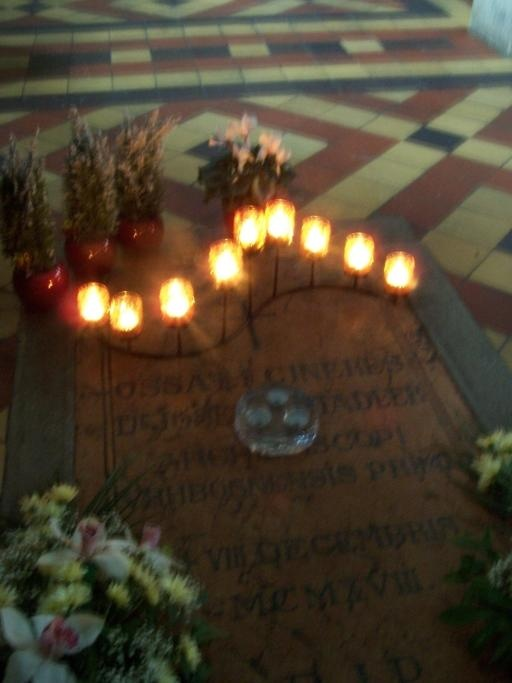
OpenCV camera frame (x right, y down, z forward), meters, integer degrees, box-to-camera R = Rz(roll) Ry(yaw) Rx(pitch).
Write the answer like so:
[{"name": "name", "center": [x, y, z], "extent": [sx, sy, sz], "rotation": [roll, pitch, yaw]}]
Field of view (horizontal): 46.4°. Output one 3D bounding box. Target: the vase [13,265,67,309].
[{"name": "vase", "center": [-1.198, -0.272, 3.232], "extent": [0.309, 0.224, 0.300], "rotation": [-4, 4, 10]}]

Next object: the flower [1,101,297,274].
[{"name": "flower", "center": [-0.653, -0.906, 3.381], "extent": [1.504, 1.146, 0.790], "rotation": [0, -21, -25]}]
